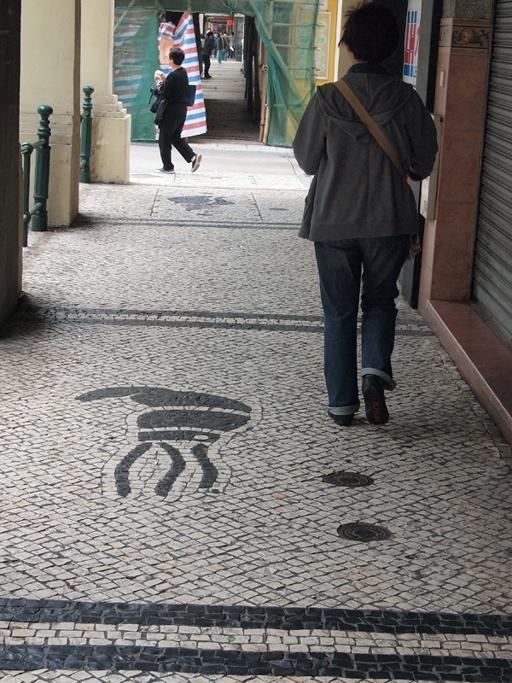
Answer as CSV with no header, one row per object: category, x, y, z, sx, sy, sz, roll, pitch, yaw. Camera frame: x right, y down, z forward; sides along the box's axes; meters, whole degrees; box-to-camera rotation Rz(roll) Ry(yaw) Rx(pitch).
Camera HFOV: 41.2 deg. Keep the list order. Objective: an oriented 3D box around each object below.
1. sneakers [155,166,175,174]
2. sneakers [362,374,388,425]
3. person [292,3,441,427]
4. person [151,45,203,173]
sneakers,-1.600,-2.966,11.960,0.354,0.137,0.115,6,49,0
sneakers,0.576,0.272,3.200,0.107,0.241,0.113,-3,14,12
person,0.479,-0.569,3.190,0.631,1.939,0.412,6,12,15
person,-1.426,-4.126,12.197,0.885,2.255,1.200,1,12,-9
